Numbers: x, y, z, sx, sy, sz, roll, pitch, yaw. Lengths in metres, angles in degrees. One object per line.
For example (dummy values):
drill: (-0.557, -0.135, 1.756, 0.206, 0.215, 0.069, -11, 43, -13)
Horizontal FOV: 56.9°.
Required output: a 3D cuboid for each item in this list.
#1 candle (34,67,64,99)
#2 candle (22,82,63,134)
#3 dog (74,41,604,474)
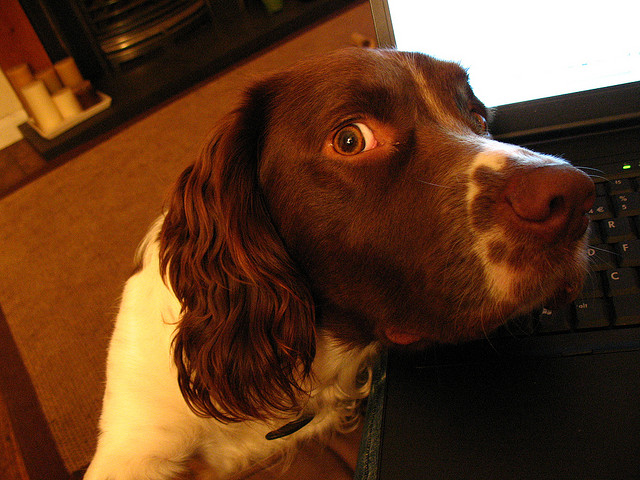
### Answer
candle: (-1.767, -1.017, 3.852, 0.152, 0.181, 0.156, -32, 13, 8)
candle: (-1.777, -0.840, 3.797, 0.188, 0.355, 0.215, -11, 1, -13)
dog: (-0.004, 0.159, 2.177, 1.810, 1.033, 1.191, -14, -12, 28)
